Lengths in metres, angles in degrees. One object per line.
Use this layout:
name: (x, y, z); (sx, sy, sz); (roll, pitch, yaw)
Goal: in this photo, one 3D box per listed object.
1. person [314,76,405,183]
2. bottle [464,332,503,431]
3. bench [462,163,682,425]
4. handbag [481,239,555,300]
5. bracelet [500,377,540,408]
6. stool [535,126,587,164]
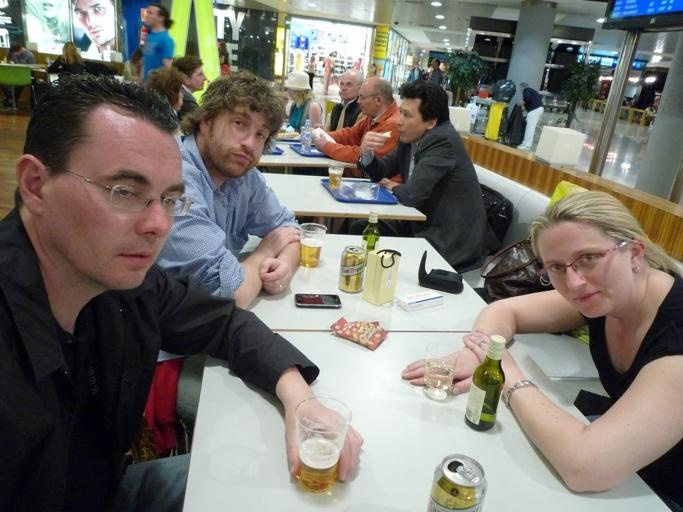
person: (0.242, -1.308, 5.019); (1.102, 1.123, 0.825); (-5, 25, -3)
bottle: (0.435, 0.376, 1.365); (0.089, 0.302, 0.089); (5, 22, -2)
bench: (0.874, 0.163, 2.913); (1.342, 1.478, 1.035); (-1, 13, -3)
handbag: (0.989, 0.056, 2.622); (0.129, 0.454, 0.378); (44, 37, -15)
bracelet: (0.567, 0.436, 1.458); (0.090, 0.024, 0.089); (-21, 8, 45)
stool: (1.870, -0.931, 3.938); (0.305, 0.269, 0.300); (-2, 28, -20)
